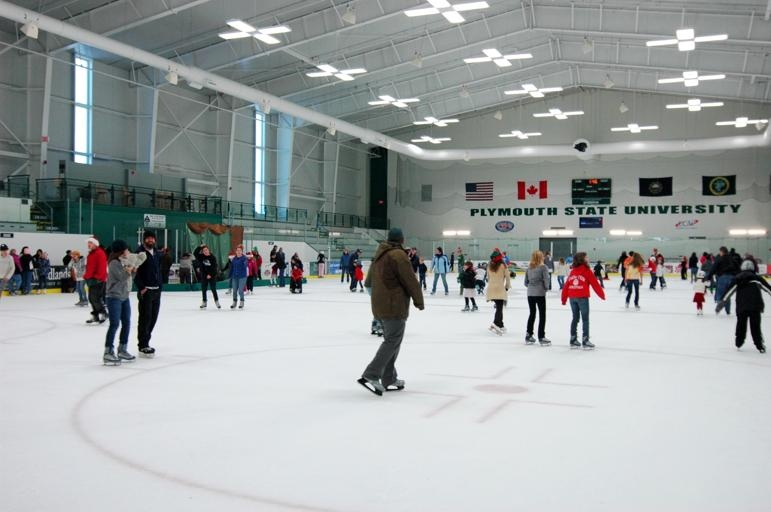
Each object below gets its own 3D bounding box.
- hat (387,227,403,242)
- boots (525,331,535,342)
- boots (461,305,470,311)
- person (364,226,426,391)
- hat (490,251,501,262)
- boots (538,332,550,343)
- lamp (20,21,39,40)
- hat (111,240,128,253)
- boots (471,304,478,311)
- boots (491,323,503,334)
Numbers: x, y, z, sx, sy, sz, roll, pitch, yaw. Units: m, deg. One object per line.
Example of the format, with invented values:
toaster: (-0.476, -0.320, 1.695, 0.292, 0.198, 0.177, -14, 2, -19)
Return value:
hat: (0.143, -0.291, 8.817, 0.154, 0.210, 0.202, -1, 6, -8)
boots: (2.784, 1.561, 12.270, 0.140, 0.205, 0.430, -2, -11, 11)
boots: (2.251, 1.460, 17.730, 0.112, 0.179, 0.356, -3, -10, 28)
person: (0.075, 0.754, 8.818, 0.879, 2.275, 0.706, 0, 9, 2)
hat: (2.342, 0.010, 13.488, 0.202, 0.197, 0.206, -7, 8, -11)
boots: (3.028, 1.567, 12.121, 0.109, 0.243, 0.337, 0, 2, 34)
lamp: (-11.075, -7.079, 19.917, 0.397, 0.415, 0.530, -2, 10, -15)
hat: (-4.251, -0.152, 10.258, 0.217, 0.158, 0.226, 4, 19, 27)
boots: (2.505, 1.458, 17.987, 0.121, 0.166, 0.413, -2, -9, 10)
boots: (2.257, 1.504, 13.164, 0.123, 0.149, 0.332, -8, 20, -43)
